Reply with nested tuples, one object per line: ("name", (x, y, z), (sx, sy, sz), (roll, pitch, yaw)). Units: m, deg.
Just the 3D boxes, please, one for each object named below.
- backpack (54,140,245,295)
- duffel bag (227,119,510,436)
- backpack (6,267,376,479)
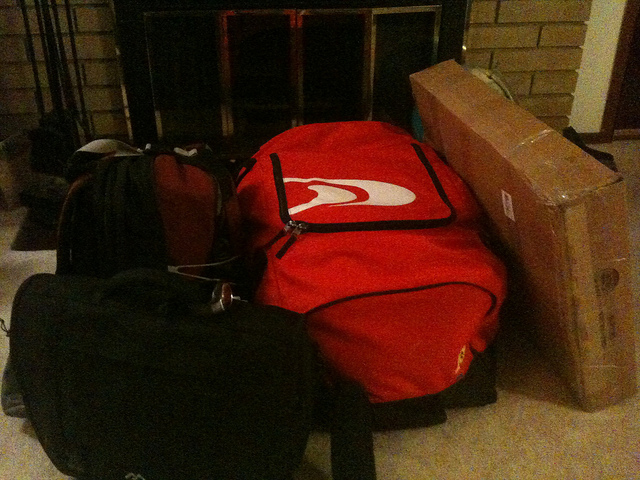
("backpack", (-0.394, -0.049, 1.417), (0.447, 0.554, 0.418), (0, 22, -15))
("duffel bag", (0.114, 0.063, 1.310), (0.623, 0.555, 0.650), (-8, 29, -12))
("backpack", (-0.230, 0.254, 0.980), (0.503, 0.302, 0.174), (2, 35, 2))
